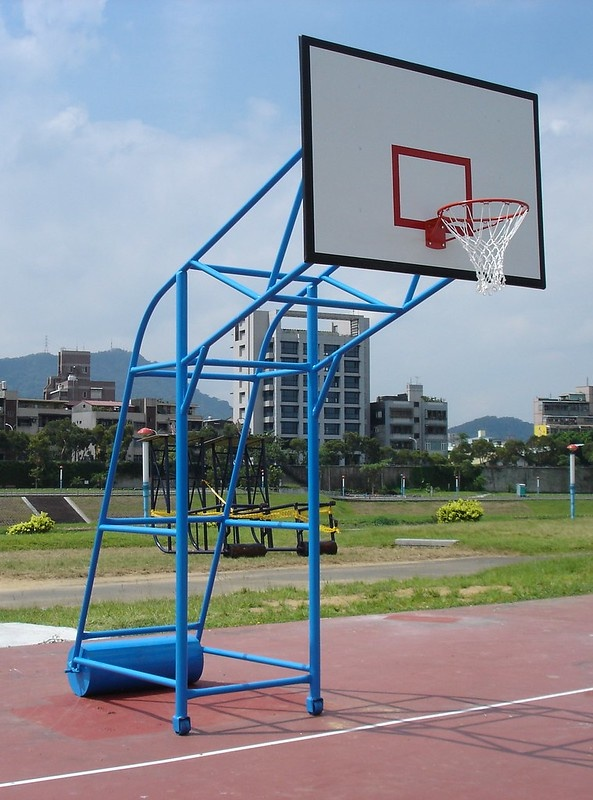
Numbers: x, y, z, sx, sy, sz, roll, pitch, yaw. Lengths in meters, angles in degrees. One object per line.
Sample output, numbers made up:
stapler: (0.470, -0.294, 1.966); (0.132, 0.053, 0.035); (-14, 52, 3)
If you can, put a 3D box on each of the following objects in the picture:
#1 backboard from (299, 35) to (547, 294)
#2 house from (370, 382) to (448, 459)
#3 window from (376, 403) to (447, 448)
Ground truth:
backboard: (0.840, -1.458, 6.834); (1.788, 1.369, 0.088); (3, -7, -26)
house: (11.377, 2.867, 113.535); (6.902, 7.031, 3.864); (4, -6, -35)
window: (12.084, 2.961, 121.230); (8.764, 6.406, 4.758); (3, -6, -37)
